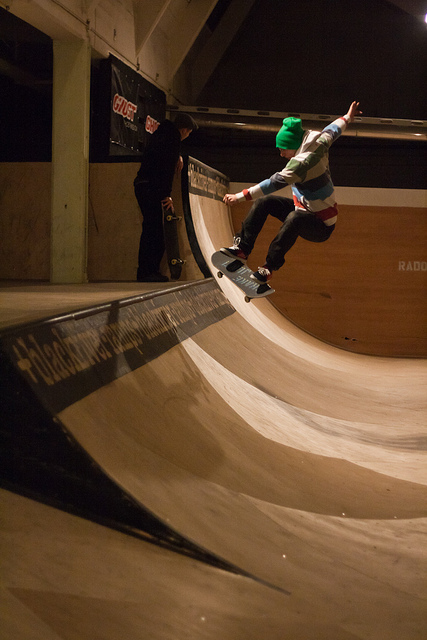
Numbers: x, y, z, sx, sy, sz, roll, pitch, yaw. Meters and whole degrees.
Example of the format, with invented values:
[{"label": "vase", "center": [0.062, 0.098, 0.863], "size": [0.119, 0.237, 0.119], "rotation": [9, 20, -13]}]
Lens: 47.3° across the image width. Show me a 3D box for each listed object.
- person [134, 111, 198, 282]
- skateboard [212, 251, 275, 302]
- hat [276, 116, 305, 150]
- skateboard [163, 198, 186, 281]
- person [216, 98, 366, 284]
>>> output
[{"label": "person", "center": [-0.499, -1.197, 4.821], "size": [0.469, 1.680, 0.453], "rotation": [11, 7, 41]}, {"label": "skateboard", "center": [0.164, -0.282, 3.238], "size": [0.539, 0.198, 0.090], "rotation": [45, -33, 4]}, {"label": "hat", "center": [0.519, -1.256, 3.263], "size": [0.176, 0.240, 0.174], "rotation": [8, 5, 7]}, {"label": "skateboard", "center": [-0.388, -0.760, 4.770], "size": [0.180, 0.701, 0.107], "rotation": [-8, 17, -7]}, {"label": "person", "center": [0.502, -0.920, 3.211], "size": [0.738, 1.340, 0.430], "rotation": [16, 12, -22]}]
